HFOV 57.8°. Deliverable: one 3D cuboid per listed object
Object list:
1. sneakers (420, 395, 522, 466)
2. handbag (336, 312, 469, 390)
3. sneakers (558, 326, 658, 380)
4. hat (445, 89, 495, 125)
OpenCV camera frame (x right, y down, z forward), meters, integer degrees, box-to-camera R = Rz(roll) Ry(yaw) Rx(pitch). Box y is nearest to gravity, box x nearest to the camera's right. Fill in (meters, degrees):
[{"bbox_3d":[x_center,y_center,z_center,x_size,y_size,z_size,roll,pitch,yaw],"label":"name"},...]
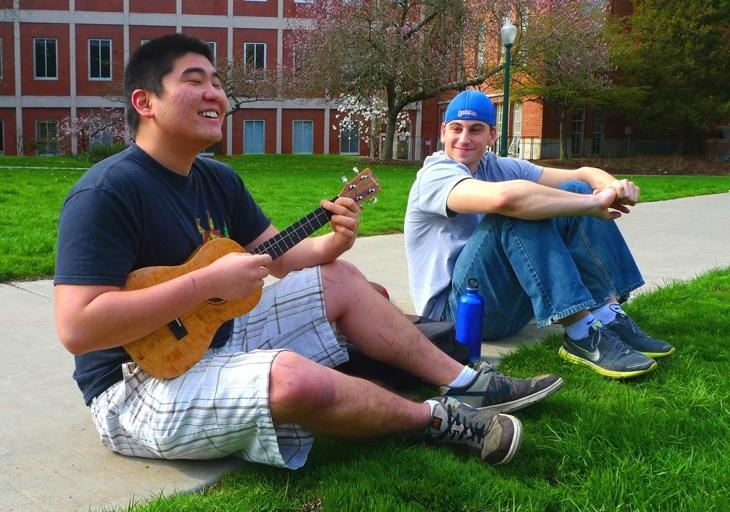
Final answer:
[{"bbox_3d":[0.521,0.827,3.182,0.541,0.227,0.228,8,-19,34],"label":"sneakers"},{"bbox_3d":[0.237,0.542,3.792,0.528,0.202,0.410,-8,14,-36],"label":"handbag"},{"bbox_3d":[1.449,0.554,4.005,0.557,0.261,0.224,11,28,39],"label":"sneakers"},{"bbox_3d":[0.712,-0.972,4.444,0.246,0.171,0.282,13,15,22],"label":"hat"}]
